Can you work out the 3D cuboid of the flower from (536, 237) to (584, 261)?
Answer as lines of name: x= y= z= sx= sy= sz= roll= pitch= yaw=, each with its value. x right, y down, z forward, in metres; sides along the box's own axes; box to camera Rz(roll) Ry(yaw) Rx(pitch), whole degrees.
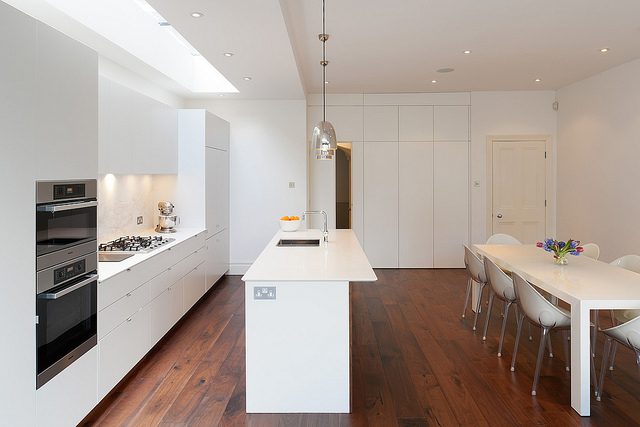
flower: x=2.629 y=0.379 z=4.294 sx=0.323 sy=0.142 sz=0.332 roll=-3 pitch=-7 yaw=17

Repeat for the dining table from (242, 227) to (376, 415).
dining table: x=0.079 y=1.155 z=4.799 sx=1.170 sy=1.267 sz=2.750 roll=-1 pitch=1 yaw=8

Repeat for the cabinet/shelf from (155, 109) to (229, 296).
cabinet/shelf: x=-2.030 y=-0.128 z=6.599 sx=0.646 sy=2.878 sz=1.598 roll=5 pitch=6 yaw=-2

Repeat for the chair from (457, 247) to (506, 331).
chair: x=1.989 y=0.863 z=4.734 sx=0.579 sy=0.850 sz=0.618 roll=18 pitch=-13 yaw=-11

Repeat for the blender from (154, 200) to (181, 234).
blender: x=-2.214 y=0.037 z=5.633 sx=0.405 sy=0.421 sz=0.270 roll=10 pitch=8 yaw=41
